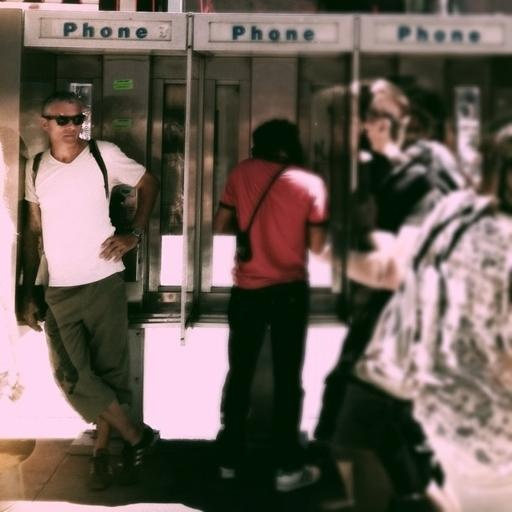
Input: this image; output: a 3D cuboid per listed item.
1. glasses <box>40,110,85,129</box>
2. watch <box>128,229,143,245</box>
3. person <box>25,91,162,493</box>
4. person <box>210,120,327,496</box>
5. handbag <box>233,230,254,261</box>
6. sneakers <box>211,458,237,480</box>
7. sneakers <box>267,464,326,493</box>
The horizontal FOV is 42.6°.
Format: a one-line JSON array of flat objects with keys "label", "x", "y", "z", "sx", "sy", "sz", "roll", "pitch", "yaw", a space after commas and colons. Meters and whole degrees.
[{"label": "glasses", "x": -0.938, "y": -0.668, "z": 3.200, "sx": 0.194, "sy": 0.071, "sz": 0.101, "roll": 1, "pitch": 11, "yaw": -16}, {"label": "watch", "x": -0.617, "y": -0.097, "z": 3.375, "sx": 0.058, "sy": 0.071, "sz": 0.040, "roll": 24, "pitch": 47, "yaw": 13}, {"label": "person", "x": -0.824, "y": 0.135, "z": 3.328, "sx": 0.720, "sy": 1.862, "sz": 0.423, "roll": 3, "pitch": 9, "yaw": -8}, {"label": "person", "x": 0.061, "y": 0.339, "z": 3.205, "sx": 0.616, "sy": 1.586, "sz": 0.314, "roll": 6, "pitch": 9, "yaw": 9}, {"label": "handbag", "x": -0.054, "y": -0.054, "z": 3.135, "sx": 0.055, "sy": 0.156, "sz": 0.134, "roll": 0, "pitch": 5, "yaw": -23}, {"label": "sneakers", "x": -0.152, "y": 1.060, "z": 3.318, "sx": 0.109, "sy": 0.126, "sz": 0.112, "roll": -4, "pitch": 12, "yaw": -33}, {"label": "sneakers", "x": 0.214, "y": 1.095, "z": 3.241, "sx": 0.191, "sy": 0.115, "sz": 0.041, "roll": -4, "pitch": 9, "yaw": -30}]
